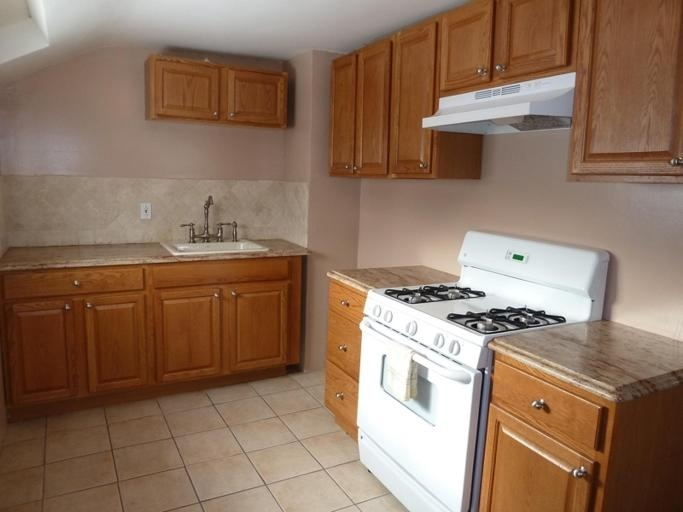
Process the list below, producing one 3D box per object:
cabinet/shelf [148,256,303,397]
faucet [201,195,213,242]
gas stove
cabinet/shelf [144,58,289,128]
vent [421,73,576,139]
[{"bbox_3d":[-0.897,0.506,3.704,1.020,0.860,0.419,-2,6,-26],"label":"cabinet/shelf"},{"bbox_3d":[-1.085,-0.307,4.099,0.082,0.366,0.152,-2,11,-7],"label":"faucet"},{"bbox_3d":[0.661,0.290,2.682,0.759,0.366,1.021,-2,9,-24],"label":"gas stove"},{"bbox_3d":[-0.938,-1.252,3.883,1.043,0.431,0.279,-2,17,-24],"label":"cabinet/shelf"},{"bbox_3d":[0.862,-0.771,2.601,0.530,0.237,0.820,-7,12,-31],"label":"vent"}]
